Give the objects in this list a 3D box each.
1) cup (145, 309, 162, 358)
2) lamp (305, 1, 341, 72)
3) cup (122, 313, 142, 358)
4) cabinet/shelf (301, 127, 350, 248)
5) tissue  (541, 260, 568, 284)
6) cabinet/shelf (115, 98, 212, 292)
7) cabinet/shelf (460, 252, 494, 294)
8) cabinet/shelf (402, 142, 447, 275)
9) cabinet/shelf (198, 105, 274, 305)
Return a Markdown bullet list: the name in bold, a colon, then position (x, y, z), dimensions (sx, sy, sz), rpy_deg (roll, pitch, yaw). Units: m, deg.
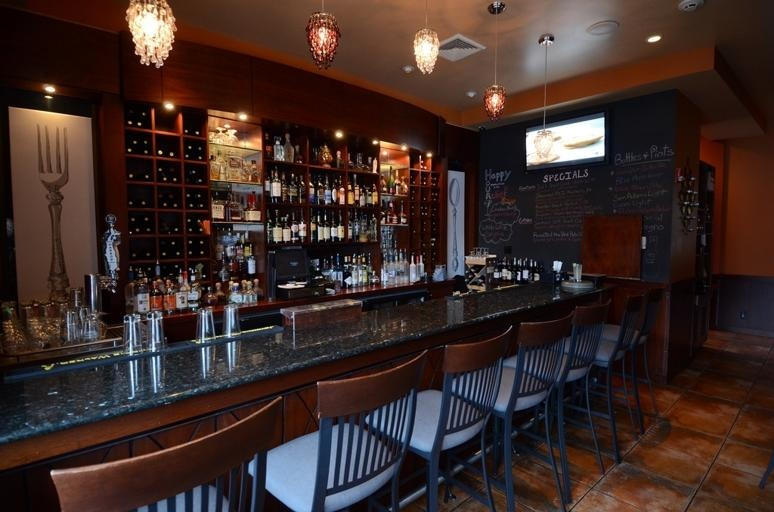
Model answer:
- **cup**: position (-1.712, 0.557, 4.104), dimensions (0.114, 0.285, 0.081), rpy_deg (-4, 4, -25)
- **lamp**: position (-0.540, -1.858, 4.755), dimensions (0.277, 0.466, 0.197), rpy_deg (-2, 4, 10)
- **cup**: position (-1.845, 0.570, 4.049), dimensions (0.125, 0.287, 0.088), rpy_deg (-4, 4, -26)
- **cabinet/shelf**: position (-0.730, -0.755, 6.768), dimensions (0.468, 1.162, 0.247), rpy_deg (2, -7, -22)
- **tissue **: position (2.015, 0.198, 6.657), dimensions (0.129, 0.248, 0.244), rpy_deg (4, 5, 44)
- **cabinet/shelf**: position (-2.225, -0.629, 5.689), dimensions (0.853, 1.748, 0.487), rpy_deg (-4, 4, -21)
- **cabinet/shelf**: position (1.167, 0.225, 7.019), dimensions (0.290, 0.524, 0.195), rpy_deg (10, 21, 33)
- **cabinet/shelf**: position (0.500, -0.545, 7.712), dimensions (0.521, 1.409, 0.146), rpy_deg (0, 0, -32)
- **cabinet/shelf**: position (-1.617, -0.512, 6.283), dimensions (0.660, 2.202, 0.294), rpy_deg (8, 20, 11)
